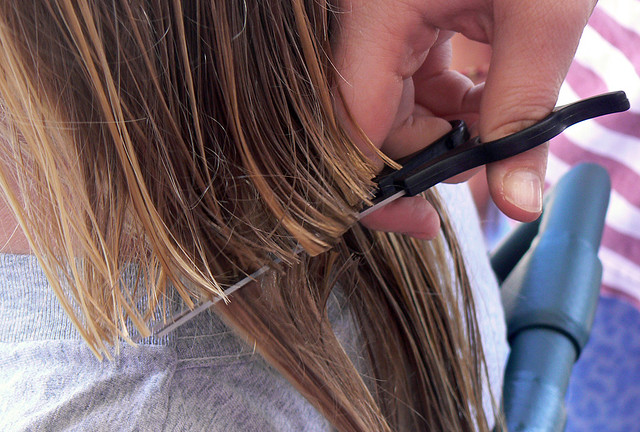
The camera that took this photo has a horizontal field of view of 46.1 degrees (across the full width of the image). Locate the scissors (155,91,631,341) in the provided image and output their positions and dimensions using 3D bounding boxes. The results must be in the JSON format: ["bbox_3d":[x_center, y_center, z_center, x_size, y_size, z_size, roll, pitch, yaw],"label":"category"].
[{"bbox_3d":[0.100,-0.068,1.100,0.661,0.039,0.364,-42,15,-18],"label":"scissors"}]
